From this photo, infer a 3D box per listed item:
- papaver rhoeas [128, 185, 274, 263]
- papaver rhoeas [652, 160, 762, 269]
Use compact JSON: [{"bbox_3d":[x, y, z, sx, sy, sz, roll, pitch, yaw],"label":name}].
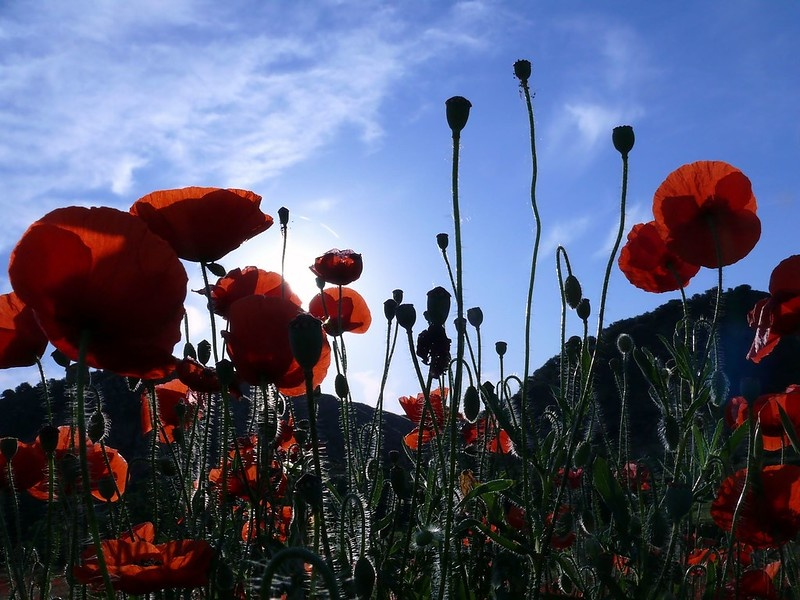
[{"bbox_3d":[-0.630,-0.212,2.851,0.420,0.208,0.451,2,-15,-38],"label":"papaver rhoeas"},{"bbox_3d":[1.087,-0.273,3.162,0.395,0.371,0.158,9,26,34],"label":"papaver rhoeas"}]
